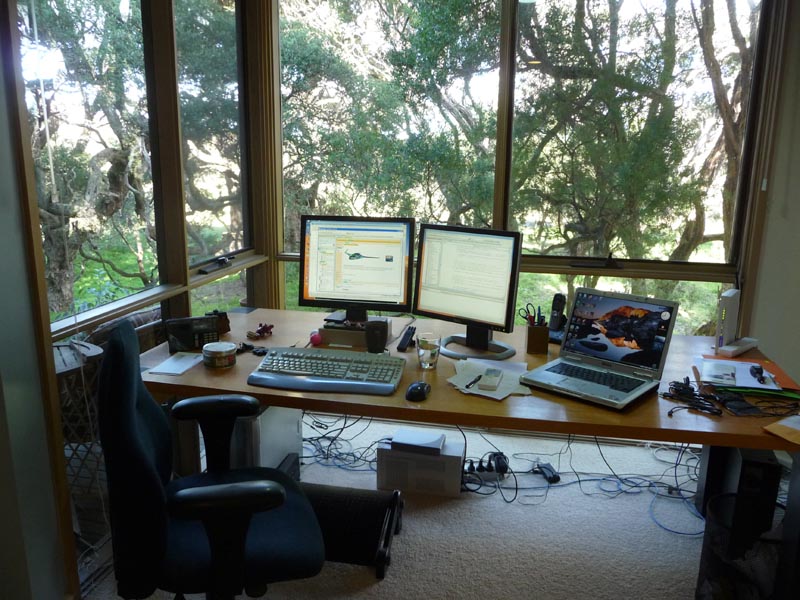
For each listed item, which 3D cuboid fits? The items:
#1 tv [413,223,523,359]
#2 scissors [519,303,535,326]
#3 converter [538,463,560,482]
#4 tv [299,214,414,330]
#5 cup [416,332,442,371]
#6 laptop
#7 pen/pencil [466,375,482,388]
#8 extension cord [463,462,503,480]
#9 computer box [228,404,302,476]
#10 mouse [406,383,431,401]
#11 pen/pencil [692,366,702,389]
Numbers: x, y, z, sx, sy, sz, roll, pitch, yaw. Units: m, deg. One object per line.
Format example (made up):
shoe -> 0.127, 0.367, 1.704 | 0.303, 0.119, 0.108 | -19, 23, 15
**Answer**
tv -> 0.309, -0.036, 2.843 | 0.509, 0.625, 0.317 | 9, 17, 31
scissors -> 0.705, 0.080, 3.381 | 0.020, 0.154, 0.081 | 0, 38, 26
converter -> 0.840, 0.982, 3.444 | 0.054, 0.029, 0.106 | 2, 14, -2
tv -> -0.207, -0.148, 2.943 | 0.534, 0.501, 0.099 | 3, 6, 6
cup -> 0.114, 0.219, 2.713 | 0.131, 0.155, 0.132 | -1, 17, 0
laptop -> 0.833, 0.207, 2.555 | 0.501, 0.420, 0.563 | 13, 22, 43
pen/pencil -> 0.310, 0.347, 2.559 | 0.026, 0.017, 0.116 | 4, 19, 24
extension cord -> 0.471, 0.962, 3.409 | 0.189, 0.072, 0.106 | -1, 19, 2
computer box -> -0.645, 0.663, 2.859 | 0.143, 0.252, 0.500 | 2, 11, 6
mouse -> 0.073, 0.370, 2.446 | 0.078, 0.057, 0.114 | 4, 10, 19
pen/pencil -> 1.271, 0.337, 2.609 | 0.013, 0.010, 0.124 | -21, 23, 25
